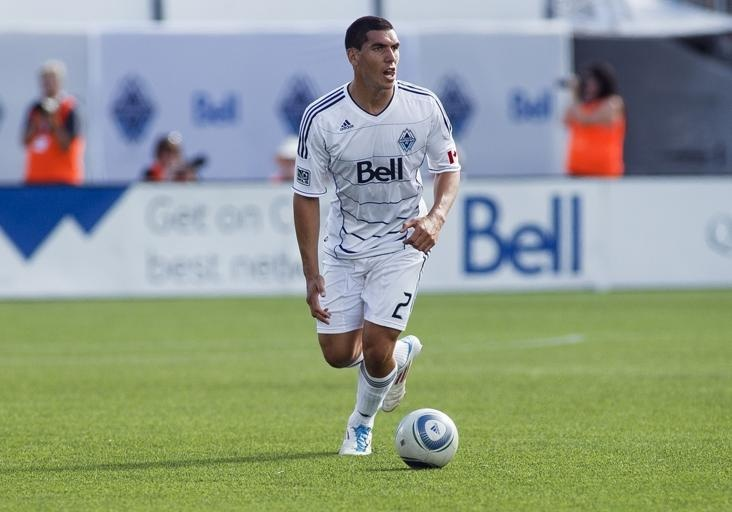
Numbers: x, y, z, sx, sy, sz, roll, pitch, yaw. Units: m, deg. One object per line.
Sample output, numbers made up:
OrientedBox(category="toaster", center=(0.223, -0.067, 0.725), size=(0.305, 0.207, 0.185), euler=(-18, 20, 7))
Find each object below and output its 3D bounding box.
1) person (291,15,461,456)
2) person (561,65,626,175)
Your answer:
OrientedBox(category="person", center=(0.059, -0.160, 11.042), size=(1.239, 3.318, 0.674), euler=(-2, 12, -2))
OrientedBox(category="person", center=(2.284, -1.370, 14.263), size=(0.587, 1.087, 0.489), euler=(0, 12, 6))
